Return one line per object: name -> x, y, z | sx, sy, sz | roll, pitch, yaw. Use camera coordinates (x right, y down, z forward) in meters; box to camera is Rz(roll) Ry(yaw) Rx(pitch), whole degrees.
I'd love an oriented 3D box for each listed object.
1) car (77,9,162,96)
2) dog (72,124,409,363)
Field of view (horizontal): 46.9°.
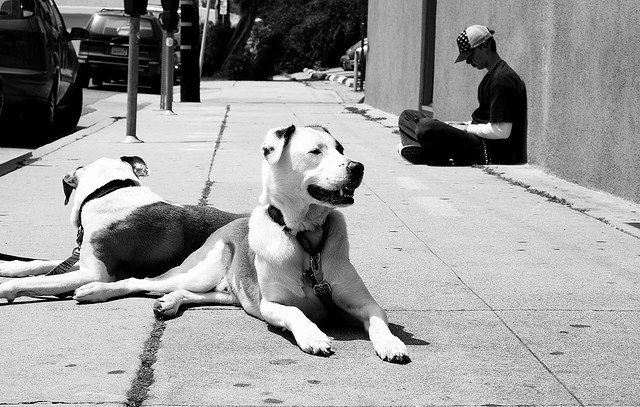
car -> -6.165, -5.002, 24.343 | 3.168, 2.333, 5.002 | 1, 16, -5
dog -> -0.499, 0.175, 5.526 | 2.950, 1.392, 1.456 | 4, 6, 38
